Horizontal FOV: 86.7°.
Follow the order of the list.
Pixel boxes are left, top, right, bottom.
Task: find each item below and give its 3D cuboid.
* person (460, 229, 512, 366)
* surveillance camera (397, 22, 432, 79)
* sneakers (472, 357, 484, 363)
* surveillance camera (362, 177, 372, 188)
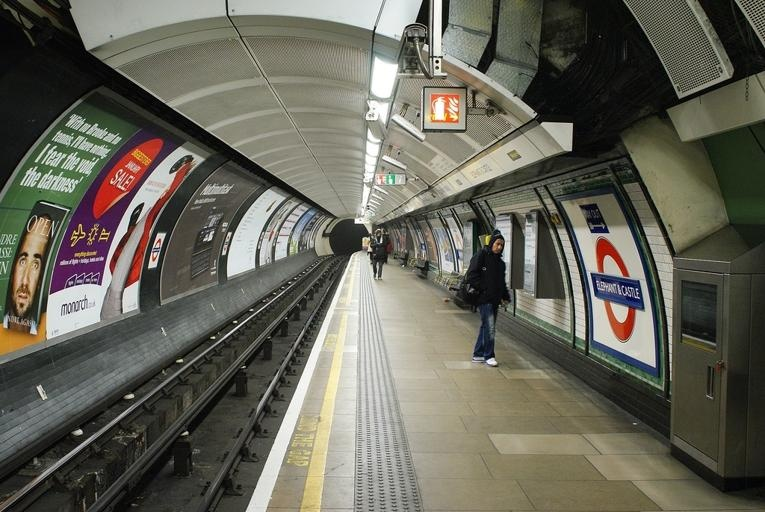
[{"bbox_3d":[1.938,0.780,7.418,1.007,2.385,0.923,9,-9,-33],"label":"person"},{"bbox_3d":[0.303,-1.929,3.930,0.296,0.503,0.662,0,5,1],"label":"surveillance camera"},{"bbox_3d":[1.812,1.955,7.657,0.221,0.092,0.079,0,0,8],"label":"sneakers"},{"bbox_3d":[-0.445,-2.387,13.052,0.272,0.345,0.299,4,15,-39],"label":"surveillance camera"}]
